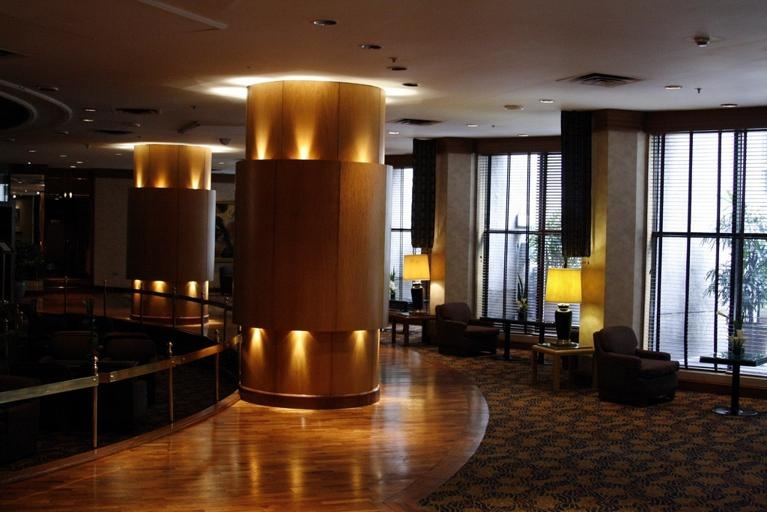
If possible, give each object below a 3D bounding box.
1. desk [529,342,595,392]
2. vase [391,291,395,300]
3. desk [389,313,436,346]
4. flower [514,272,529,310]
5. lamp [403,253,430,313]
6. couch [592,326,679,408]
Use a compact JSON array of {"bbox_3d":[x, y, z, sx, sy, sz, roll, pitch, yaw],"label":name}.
[{"bbox_3d":[3.309,1.950,11.532,1.195,0.663,1.214,-2,0,36],"label":"desk"},{"bbox_3d":[0.264,1.047,16.558,0.161,0.205,0.165,0,1,-9],"label":"vase"},{"bbox_3d":[0.656,1.688,14.676,0.849,0.611,0.829,-1,2,-20],"label":"desk"},{"bbox_3d":[3.124,0.821,14.298,0.286,0.733,0.753,3,5,13],"label":"flower"},{"bbox_3d":[0.822,0.634,14.764,0.556,1.330,1.020,5,5,34],"label":"lamp"},{"bbox_3d":[4.330,1.842,10.826,1.311,1.181,1.365,-2,-2,21],"label":"couch"}]
